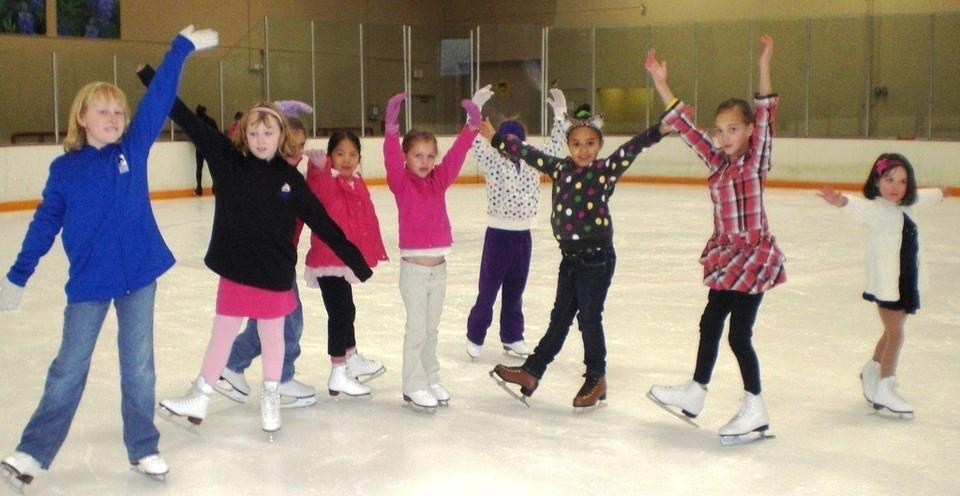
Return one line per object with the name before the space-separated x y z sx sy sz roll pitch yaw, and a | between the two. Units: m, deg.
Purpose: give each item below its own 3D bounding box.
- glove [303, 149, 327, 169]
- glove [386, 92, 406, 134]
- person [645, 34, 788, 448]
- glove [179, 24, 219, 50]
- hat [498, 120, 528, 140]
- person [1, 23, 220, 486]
glove | -1.332 -0.729 6.206 0.145 0.161 0.062 -3 53 10
glove | -0.702 -1.103 6.270 0.142 0.317 0.437 -2 12 -6
person | 1.865 -0.087 5.949 1.043 3.063 1.043 -1 14 0
glove | -2.117 -1.560 5.631 0.317 0.123 0.300 18 22 29
hat | 0.320 -1.156 7.402 0.249 0.220 0.280 3 15 -5
person | -2.708 0.063 5.386 1.413 3.091 0.750 -4 15 -14
